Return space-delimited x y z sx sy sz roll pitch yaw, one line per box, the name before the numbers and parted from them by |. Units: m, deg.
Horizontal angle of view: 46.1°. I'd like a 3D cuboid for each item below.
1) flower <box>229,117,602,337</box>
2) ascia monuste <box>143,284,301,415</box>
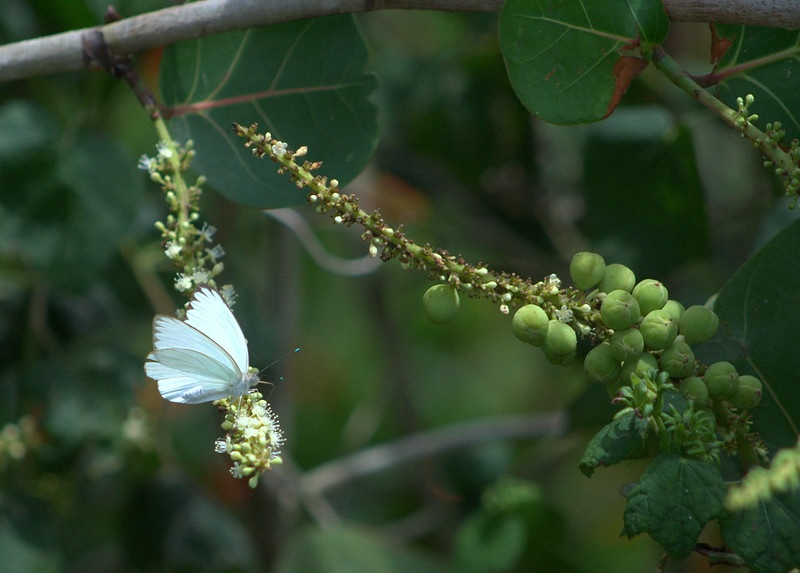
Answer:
flower | 0.053 -0.190 2.577 0.921 0.162 0.176 32 -25 0
ascia monuste | -0.412 0.134 2.009 0.267 0.237 0.277 -4 4 3
